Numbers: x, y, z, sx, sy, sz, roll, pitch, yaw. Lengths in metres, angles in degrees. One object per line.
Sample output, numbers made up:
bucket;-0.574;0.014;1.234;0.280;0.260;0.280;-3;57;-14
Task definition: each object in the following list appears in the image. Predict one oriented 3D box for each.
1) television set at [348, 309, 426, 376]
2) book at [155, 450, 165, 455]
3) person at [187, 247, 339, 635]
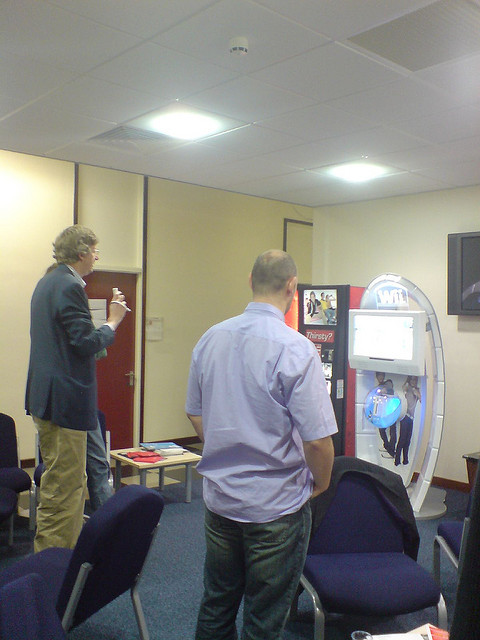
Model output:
television set;1.185;0.170;4.206;0.788;0.561;0.106;2;-1;-28
book;-0.702;1.146;4.596;0.058;0.011;0.129;-2;3;-26
person;0.055;0.389;1.732;0.500;1.245;0.347;0;3;7
